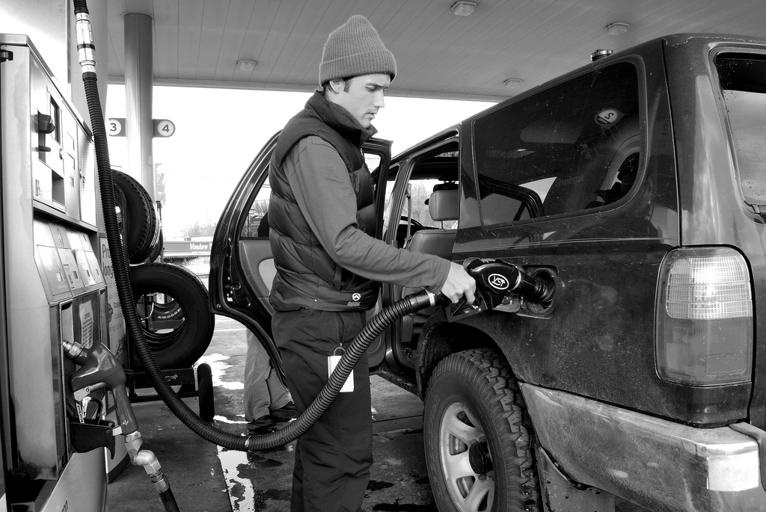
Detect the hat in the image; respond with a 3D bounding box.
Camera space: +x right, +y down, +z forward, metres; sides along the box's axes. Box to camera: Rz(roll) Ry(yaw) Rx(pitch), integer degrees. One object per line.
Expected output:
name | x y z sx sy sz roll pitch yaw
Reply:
hat | -0.142 -0.913 2.468 0.287 0.268 0.300 -4 -13 -20
